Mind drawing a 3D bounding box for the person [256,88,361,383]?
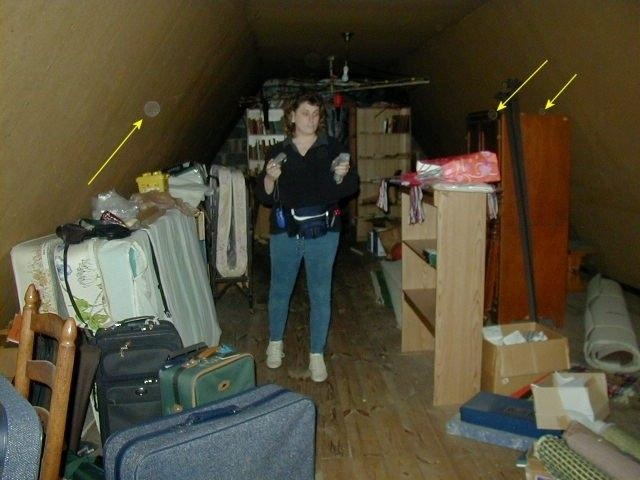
[{"bbox_3d":[-0.069,0.019,3.326,0.594,1.781,0.577,1,4,3],"label":"person"}]

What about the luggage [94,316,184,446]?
[{"bbox_3d":[-1.018,0.780,2.955,0.447,0.708,0.367,-5,17,-27],"label":"luggage"}]

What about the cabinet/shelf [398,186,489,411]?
[{"bbox_3d":[0.753,0.347,3.221,0.356,1.430,1.155,0,7,1],"label":"cabinet/shelf"}]

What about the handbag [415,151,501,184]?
[{"bbox_3d":[0.814,-0.392,3.107,0.378,0.233,0.098,-6,-22,16],"label":"handbag"}]

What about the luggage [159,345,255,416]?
[{"bbox_3d":[-0.586,0.769,2.741,0.266,0.366,0.469,4,8,25],"label":"luggage"}]

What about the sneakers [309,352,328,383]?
[{"bbox_3d":[-0.007,0.816,3.410,0.088,0.082,0.196,-2,10,-6],"label":"sneakers"}]

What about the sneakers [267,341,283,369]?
[{"bbox_3d":[-0.289,0.775,3.539,0.072,0.090,0.209,0,5,-5],"label":"sneakers"}]

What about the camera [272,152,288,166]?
[{"bbox_3d":[-0.233,-0.478,3.105,0.072,0.076,0.142,1,4,1],"label":"camera"}]

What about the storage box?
[{"bbox_3d":[1.249,0.733,3.039,0.524,0.363,0.554,-2,15,-10],"label":"storage box"}]

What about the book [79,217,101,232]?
[{"bbox_3d":[-1.406,-0.110,3.251,0.110,0.039,0.112,-11,31,-30],"label":"book"}]
